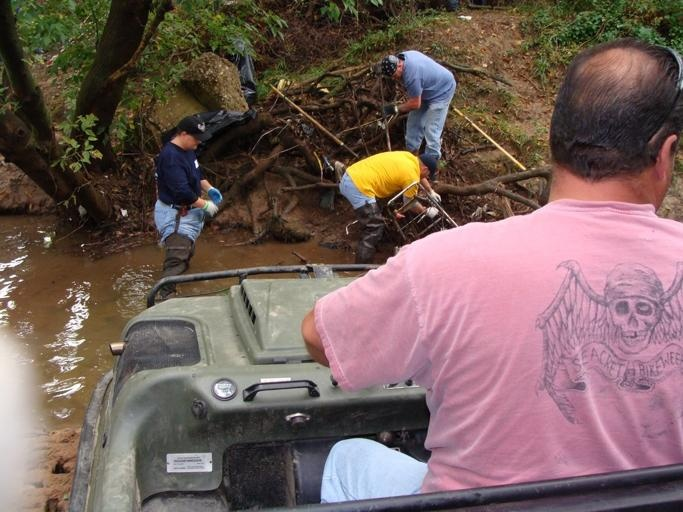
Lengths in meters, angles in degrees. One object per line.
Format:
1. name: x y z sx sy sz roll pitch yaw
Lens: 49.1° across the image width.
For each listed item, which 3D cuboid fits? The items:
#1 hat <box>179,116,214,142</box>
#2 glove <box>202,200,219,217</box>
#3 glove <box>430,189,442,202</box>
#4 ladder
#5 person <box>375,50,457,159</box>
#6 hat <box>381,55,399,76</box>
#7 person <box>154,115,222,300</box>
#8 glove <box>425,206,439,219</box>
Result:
1. hat: -1.321 -1.190 6.930 0.313 0.180 0.215 19 39 -12
2. glove: -1.286 -0.469 7.334 0.047 0.109 0.142 -52 51 12
3. glove: 0.996 -0.633 7.963 0.141 0.046 0.106 46 15 8
4. ladder: 0.750 -0.460 8.317 0.573 0.804 0.277 -40 41 22
5. person: 0.829 -1.689 8.616 0.943 1.344 0.581 -11 61 10
6. hat: 0.541 -2.070 8.216 0.157 0.197 0.205 2 42 20
7. person: -1.528 -0.457 7.426 0.776 2.158 0.735 2 45 -18
8. glove: 0.971 -0.469 8.051 0.101 0.114 0.105 19 20 29
